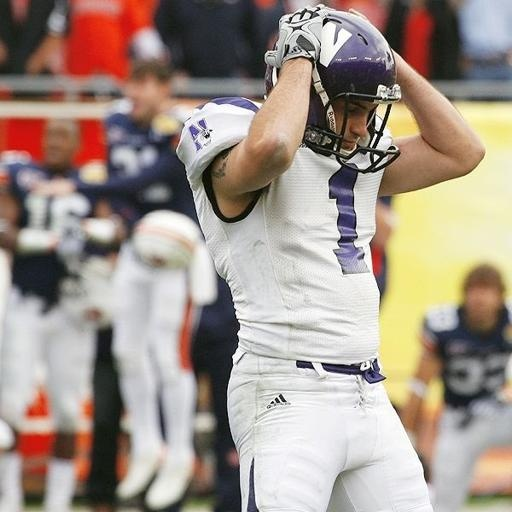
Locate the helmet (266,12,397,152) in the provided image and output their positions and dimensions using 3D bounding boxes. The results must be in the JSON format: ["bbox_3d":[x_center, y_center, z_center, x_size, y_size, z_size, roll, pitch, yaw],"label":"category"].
[{"bbox_3d":[0.296,-0.632,3.998,0.474,0.407,0.343,-29,44,-30],"label":"helmet"}]

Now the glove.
[{"bbox_3d":[0.130,-0.690,3.870,0.160,0.195,0.091,1,-12,33],"label":"glove"}]
